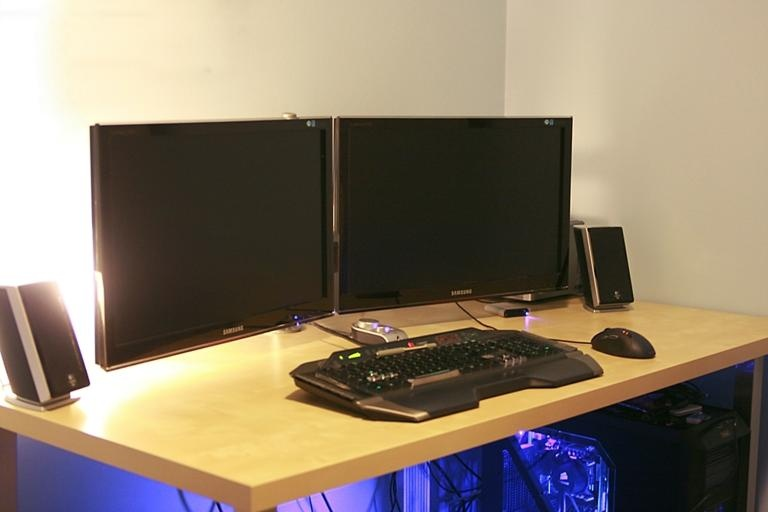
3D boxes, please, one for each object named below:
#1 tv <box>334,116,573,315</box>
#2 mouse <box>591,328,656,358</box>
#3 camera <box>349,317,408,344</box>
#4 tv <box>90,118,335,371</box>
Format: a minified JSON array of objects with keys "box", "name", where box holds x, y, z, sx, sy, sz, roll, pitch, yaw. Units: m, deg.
[{"box":[0.217,-0.150,1.896,0.810,0.585,0.075,-4,9,-20],"name":"tv"},{"box":[0.642,0.217,1.629,0.126,0.046,0.078,5,8,37],"name":"mouse"},{"box":[-0.014,0.206,1.700,0.069,0.046,0.125,-7,12,-41],"name":"camera"},{"box":[-0.433,-0.030,1.513,0.619,0.523,0.072,-7,7,-44],"name":"tv"}]
